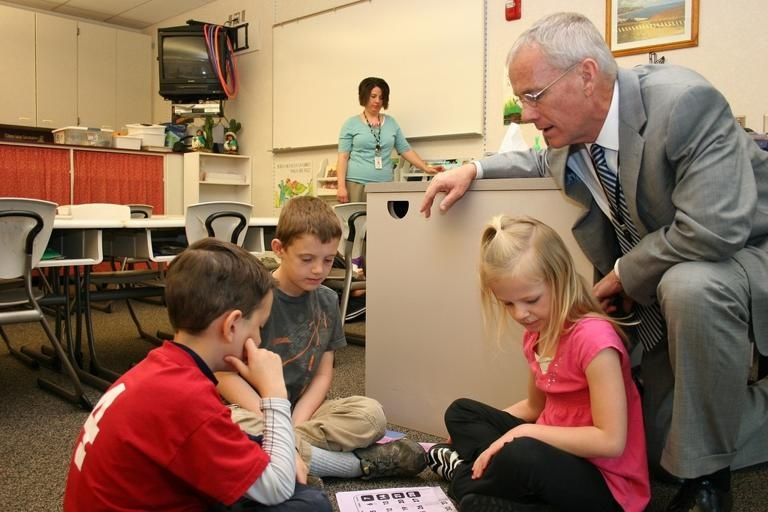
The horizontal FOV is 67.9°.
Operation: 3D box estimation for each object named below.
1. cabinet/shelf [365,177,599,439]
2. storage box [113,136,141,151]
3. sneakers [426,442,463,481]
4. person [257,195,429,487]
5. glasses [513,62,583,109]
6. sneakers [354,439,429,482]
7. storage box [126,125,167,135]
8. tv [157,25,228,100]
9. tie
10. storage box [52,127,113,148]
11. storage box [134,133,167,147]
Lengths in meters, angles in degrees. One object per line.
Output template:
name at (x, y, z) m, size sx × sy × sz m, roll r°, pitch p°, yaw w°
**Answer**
cabinet/shelf at (0.445, 0.147, 2.407) m, size 0.532 × 0.956 × 0.933 m, roll -11°, pitch 11°, yaw -44°
storage box at (-2.804, -1.198, 6.231) m, size 0.175 × 0.085 × 0.178 m, roll 6°, pitch 8°, yaw 42°
sneakers at (0.209, 0.721, 2.000) m, size 0.065 × 0.072 × 0.155 m, roll 9°, pitch 1°, yaw -21°
person at (-0.247, 0.282, 2.042) m, size 0.597 × 0.937 × 0.690 m, roll 6°, pitch -3°, yaw -35°
glasses at (0.524, -0.541, 1.848) m, size 0.128 × 0.034 × 0.123 m, roll -38°, pitch 5°, yaw 1°
sneakers at (0.027, 0.732, 2.041) m, size 0.220 × 0.089 × 0.141 m, roll -4°, pitch 48°, yaw -4°
storage box at (-2.662, -1.395, 6.358) m, size 0.224 × 0.075 × 0.192 m, roll -1°, pitch 6°, yaw -11°
tv at (-2.091, -2.119, 6.258) m, size 0.784 × 0.839 × 0.506 m, roll 1°, pitch 4°, yaw 8°
tie at (0.797, -0.037, 1.872) m, size 0.088 × 0.705 × 0.113 m, roll -15°, pitch -6°, yaw -28°
storage box at (-3.184, -1.237, 6.040) m, size 0.561 × 0.225 × 0.279 m, roll -8°, pitch 13°, yaw -22°
storage box at (-2.585, -1.256, 6.350) m, size 0.160 × 0.114 × 0.237 m, roll 6°, pitch 8°, yaw 44°
